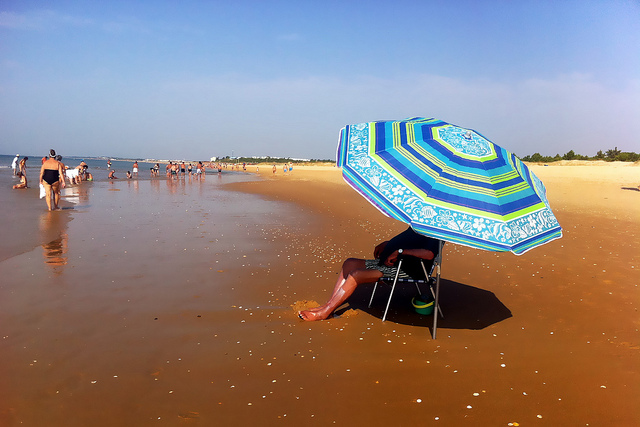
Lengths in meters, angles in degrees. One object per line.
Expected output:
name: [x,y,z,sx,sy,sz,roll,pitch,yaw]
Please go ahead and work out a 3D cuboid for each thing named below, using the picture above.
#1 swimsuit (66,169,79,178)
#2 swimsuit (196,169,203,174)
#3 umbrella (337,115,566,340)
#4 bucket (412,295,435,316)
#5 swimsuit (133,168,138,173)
swimsuit: [-18.419,-2.992,33.203,1.453,0.670,0.979,3,5,21]
swimsuit: [-14.372,-5.113,52.051,0.718,0.679,0.699,-1,-32,-1]
umbrella: [1.958,-0.216,7.939,3.627,2.855,3.453,-18,55,-30]
bucket: [1.870,1.651,7.833,0.365,0.231,0.345,3,0,0]
swimsuit: [-19.586,-4.599,46.396,0.272,0.526,1.455,-4,12,-28]
